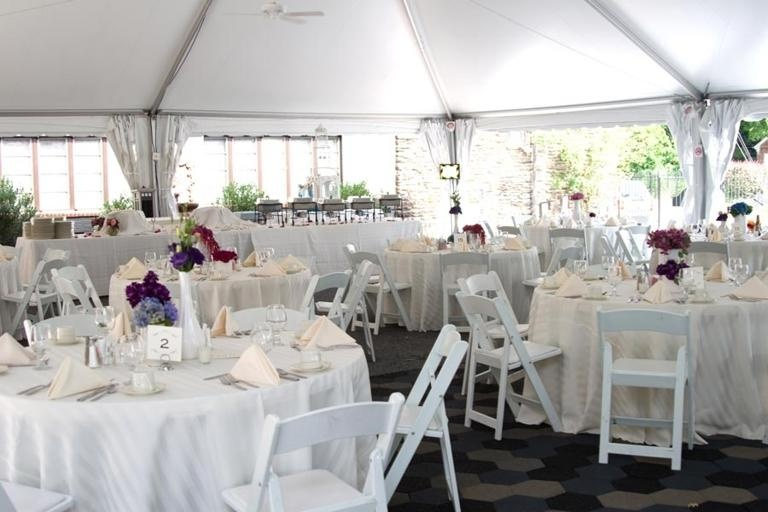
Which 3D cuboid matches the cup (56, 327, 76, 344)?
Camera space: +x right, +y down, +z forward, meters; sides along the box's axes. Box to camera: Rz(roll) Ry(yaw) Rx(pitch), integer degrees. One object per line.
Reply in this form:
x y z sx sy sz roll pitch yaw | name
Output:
-1.930 0.471 3.283 0.102 0.077 0.098 1 3 0 | cup

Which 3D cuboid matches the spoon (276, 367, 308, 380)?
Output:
-0.468 0.591 2.693 0.051 0.010 0.199 2 1 10 | spoon

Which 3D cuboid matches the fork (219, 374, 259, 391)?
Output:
-0.724 0.611 2.627 0.072 0.035 0.240 -18 14 -39 | fork

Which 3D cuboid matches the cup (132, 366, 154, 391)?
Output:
-1.149 0.583 2.590 0.099 0.098 0.097 1 -2 0 | cup

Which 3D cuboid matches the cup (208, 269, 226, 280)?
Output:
-1.580 0.171 5.062 0.117 0.076 0.117 2 3 0 | cup

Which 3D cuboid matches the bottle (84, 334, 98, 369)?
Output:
-1.581 0.511 2.918 0.080 0.133 0.195 -13 14 -30 | bottle

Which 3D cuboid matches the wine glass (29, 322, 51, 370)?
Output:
-1.832 0.460 2.877 0.090 0.231 0.190 -14 15 -34 | wine glass

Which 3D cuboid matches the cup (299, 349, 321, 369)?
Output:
-0.383 0.529 2.789 0.091 0.070 0.091 -2 3 0 | cup
